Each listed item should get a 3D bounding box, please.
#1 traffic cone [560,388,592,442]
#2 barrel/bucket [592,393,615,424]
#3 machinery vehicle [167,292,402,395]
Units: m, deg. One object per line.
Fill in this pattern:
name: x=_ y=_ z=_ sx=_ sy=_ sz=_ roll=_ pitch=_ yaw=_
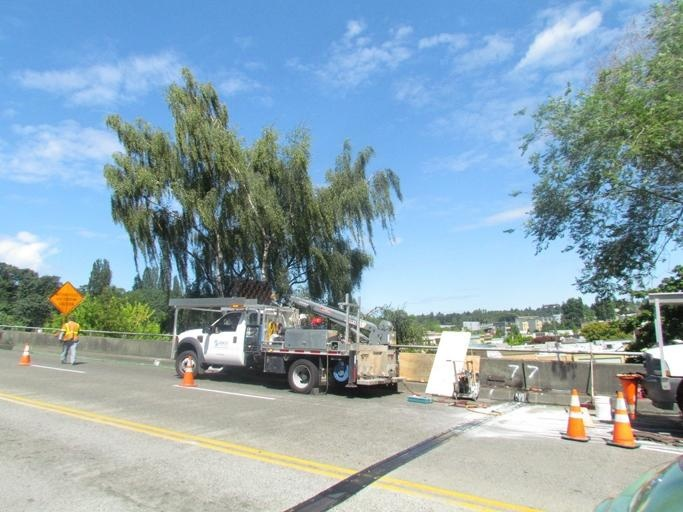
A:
traffic cone: x=4.977 y=3.361 z=9.861 sx=0.483 sy=0.981 sz=1.309 roll=-3 pitch=-14 yaw=27
barrel/bucket: x=6.552 y=3.783 z=11.450 sx=0.474 sy=0.779 sz=0.512 roll=-2 pitch=-9 yaw=0
machinery vehicle: x=-2.195 y=2.983 z=16.221 sx=8.462 sy=3.198 sz=3.123 roll=-2 pitch=-13 yaw=24
